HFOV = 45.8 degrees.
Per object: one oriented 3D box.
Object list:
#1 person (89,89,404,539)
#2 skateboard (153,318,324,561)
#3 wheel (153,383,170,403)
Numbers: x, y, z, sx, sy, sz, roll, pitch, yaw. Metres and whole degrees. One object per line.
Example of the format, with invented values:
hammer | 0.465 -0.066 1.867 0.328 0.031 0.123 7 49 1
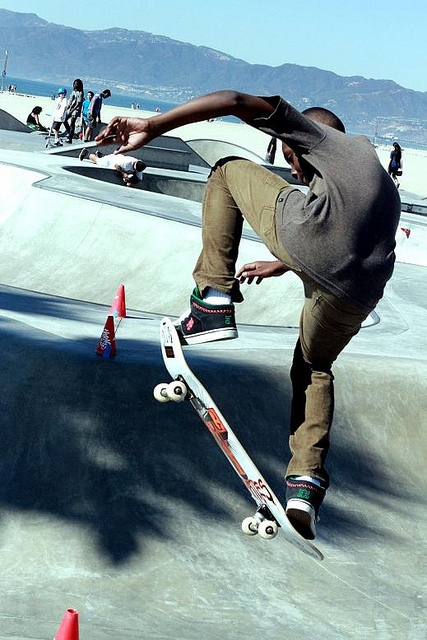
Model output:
person | 0.185 -0.052 1.972 0.879 1.495 0.479 17 22 34
skateboard | 0.099 0.617 2.468 0.194 1.206 0.250 -26 -15 -15
wheel | -0.236 0.324 2.237 0.084 0.074 0.034 1 2 12
